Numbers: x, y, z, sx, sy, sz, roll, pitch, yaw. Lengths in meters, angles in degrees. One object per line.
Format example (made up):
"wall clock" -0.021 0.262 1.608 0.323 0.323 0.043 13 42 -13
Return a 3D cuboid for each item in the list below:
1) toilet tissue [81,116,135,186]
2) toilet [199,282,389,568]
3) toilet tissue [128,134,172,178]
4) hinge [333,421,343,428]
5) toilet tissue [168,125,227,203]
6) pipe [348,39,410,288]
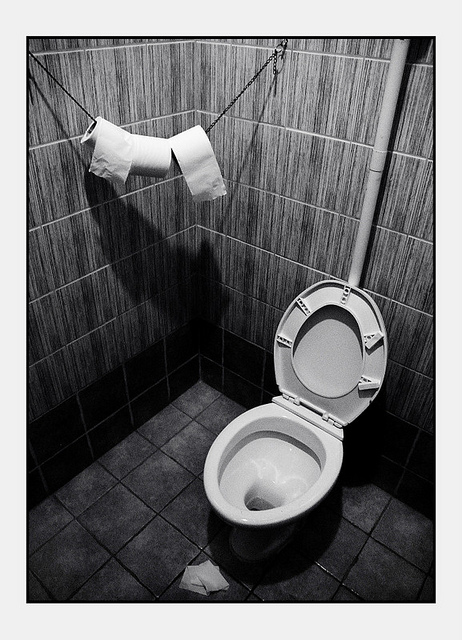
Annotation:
"toilet tissue" -0.278 -0.388 1.034 0.115 0.137 0.058 -2 27 -12
"toilet" 0.156 0.319 1.251 0.285 0.791 0.452 25 29 27
"toilet tissue" -0.190 -0.383 1.068 0.104 0.094 0.044 -6 28 -18
"hinge" 0.315 0.305 1.327 0.012 0.005 0.019 -42 56 -16
"toilet tissue" -0.093 -0.403 1.175 0.132 0.173 0.158 -17 53 -28
"pipe" 0.334 -0.324 1.062 0.041 0.580 0.139 10 26 14
